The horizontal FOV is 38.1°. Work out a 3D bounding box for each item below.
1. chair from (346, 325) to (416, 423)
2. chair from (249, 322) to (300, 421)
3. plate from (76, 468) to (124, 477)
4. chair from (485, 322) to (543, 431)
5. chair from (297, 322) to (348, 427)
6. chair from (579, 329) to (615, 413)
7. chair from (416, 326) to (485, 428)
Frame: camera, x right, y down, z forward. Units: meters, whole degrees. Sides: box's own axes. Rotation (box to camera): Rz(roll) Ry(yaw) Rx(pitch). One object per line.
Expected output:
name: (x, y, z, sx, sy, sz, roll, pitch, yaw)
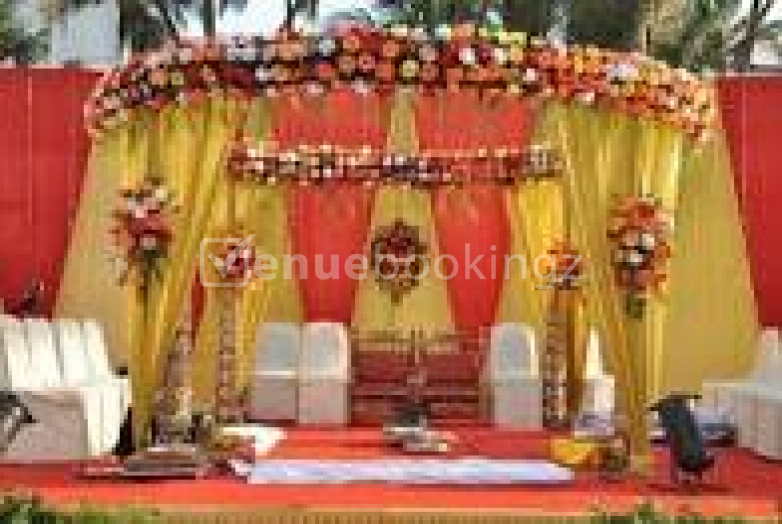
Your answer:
chair: (-0.148, 1.680, 17.135, 1.264, 1.608, 1.204, 1, -14, 0)
chair: (-1.719, 1.623, 16.884, 0.738, 1.359, 0.661, 2, -3, -7)
plate: (-3.554, 2.493, 13.888, 0.558, 0.098, 0.309, 2, -4, -9)
chair: (1.816, 1.652, 16.540, 0.797, 1.395, 0.636, 1, -3, 4)
chair: (-1.001, 1.631, 16.718, 0.719, 1.396, 0.697, 1, -3, -5)
chair: (2.980, 1.563, 16.470, 0.468, 1.090, 0.847, 1, -3, -5)
chair: (0.949, 1.679, 17.074, 1.385, 1.811, 1.196, 0, -15, 2)
